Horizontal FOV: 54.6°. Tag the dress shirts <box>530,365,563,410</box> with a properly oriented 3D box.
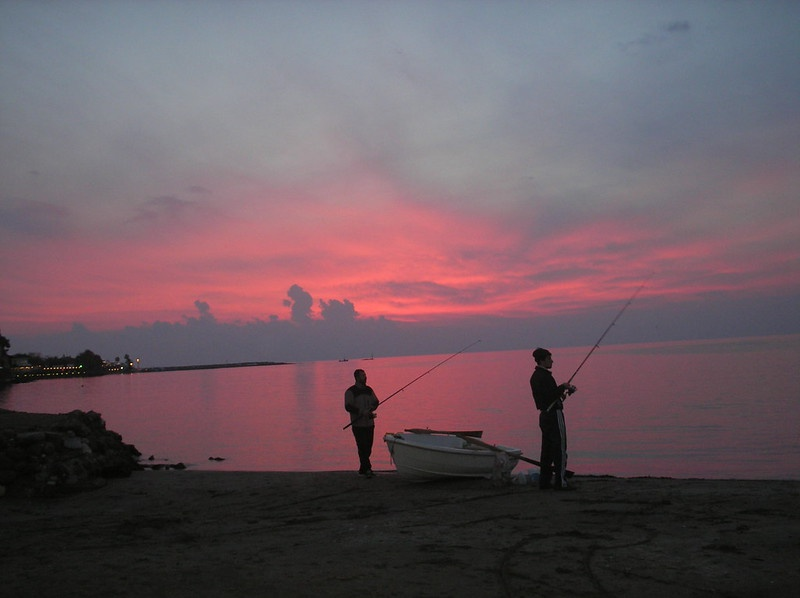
[{"bbox_3d":[3.026,1.801,15.670,0.744,0.860,0.914,-2,7,9],"label":"dress shirts"}]

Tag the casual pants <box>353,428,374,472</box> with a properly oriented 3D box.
[{"bbox_3d":[-0.809,3.433,17.427,0.401,1.045,1.025,-2,-10,-4],"label":"casual pants"}]

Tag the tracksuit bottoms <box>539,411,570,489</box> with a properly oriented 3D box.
[{"bbox_3d":[3.009,2.976,15.300,0.517,1.526,0.607,-3,-10,3],"label":"tracksuit bottoms"}]

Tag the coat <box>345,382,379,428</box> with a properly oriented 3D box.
[{"bbox_3d":[-0.881,2.394,17.307,0.840,0.979,0.457,3,-12,-25],"label":"coat"}]
